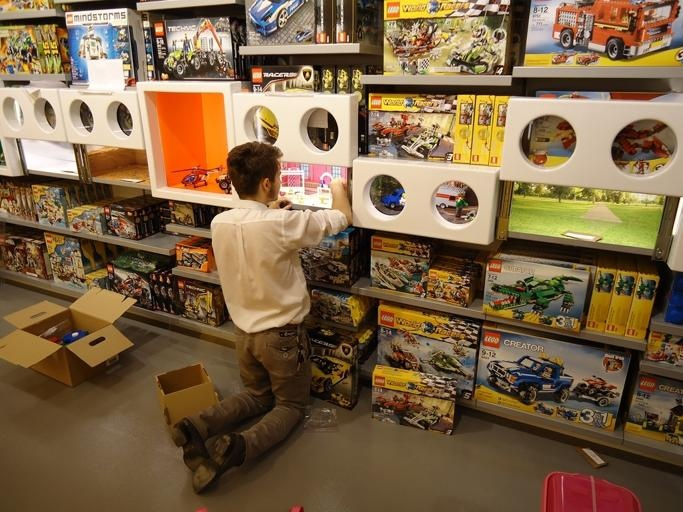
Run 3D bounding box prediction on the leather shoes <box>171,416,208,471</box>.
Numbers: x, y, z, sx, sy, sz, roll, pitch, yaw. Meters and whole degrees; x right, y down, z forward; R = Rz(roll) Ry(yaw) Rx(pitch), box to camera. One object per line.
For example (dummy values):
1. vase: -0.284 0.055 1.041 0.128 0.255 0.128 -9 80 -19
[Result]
1. leather shoes: -0.815 1.010 2.567 0.123 0.166 0.297 -1 52 -55
